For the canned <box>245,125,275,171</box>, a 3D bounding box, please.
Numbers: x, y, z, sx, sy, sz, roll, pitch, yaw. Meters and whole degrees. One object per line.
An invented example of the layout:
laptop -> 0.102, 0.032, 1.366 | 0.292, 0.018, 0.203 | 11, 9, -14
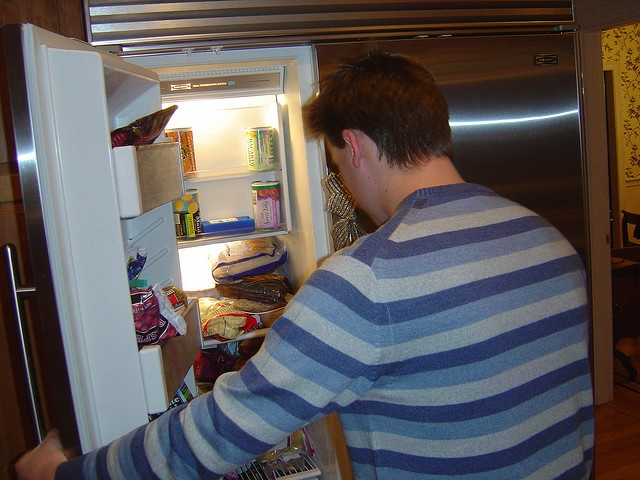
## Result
canned -> -0.282, -0.373, 2.198 | 0.154, 0.162, 0.147 | -3, 10, 6

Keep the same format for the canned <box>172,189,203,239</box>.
canned -> -0.561, -0.116, 2.152 | 0.137, 0.213, 0.143 | 5, 8, 22

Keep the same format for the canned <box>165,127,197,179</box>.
canned -> -0.571, -0.347, 2.101 | 0.141, 0.193, 0.127 | -13, 18, -37
